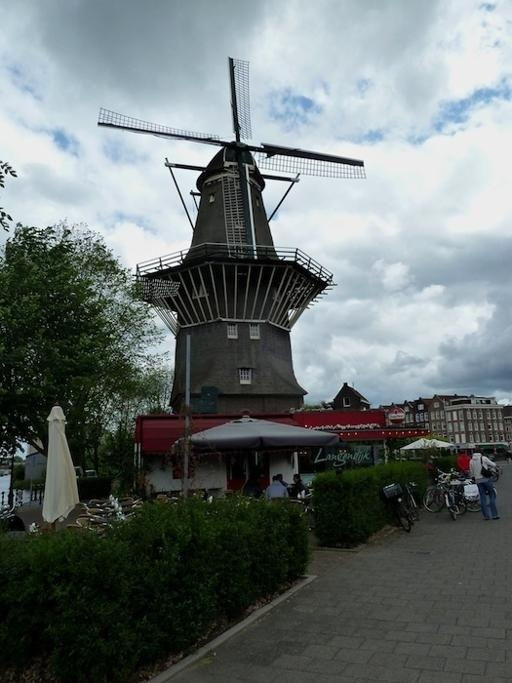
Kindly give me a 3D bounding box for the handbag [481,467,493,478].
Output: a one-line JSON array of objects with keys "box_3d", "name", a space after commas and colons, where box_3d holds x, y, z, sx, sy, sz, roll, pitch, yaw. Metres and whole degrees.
[{"box_3d": [5.456, 3.125, 11.966, 0.236, 0.228, 0.274, -5, -17, 8], "name": "handbag"}]
